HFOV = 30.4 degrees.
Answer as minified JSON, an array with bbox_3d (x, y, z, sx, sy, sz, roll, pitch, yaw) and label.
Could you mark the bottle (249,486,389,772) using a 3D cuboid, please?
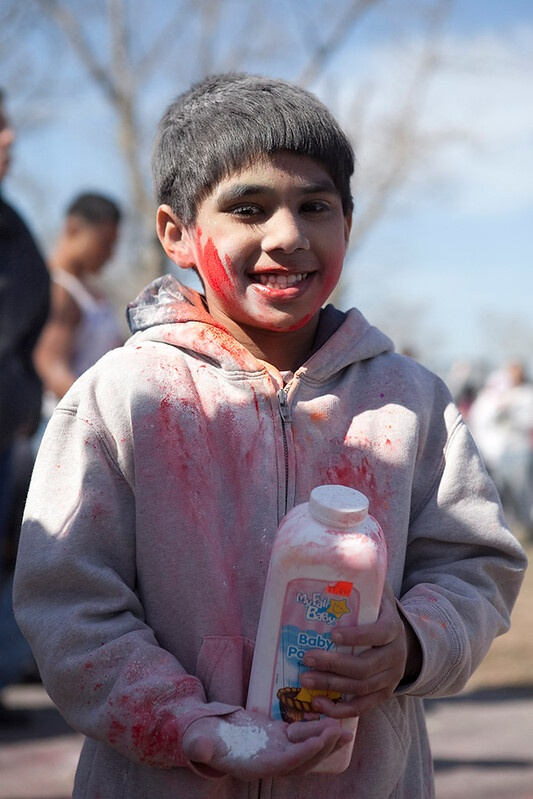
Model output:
[{"bbox_3d":[0.099,0.361,1.554,0.217,0.420,0.179,7,14,10],"label":"bottle"}]
